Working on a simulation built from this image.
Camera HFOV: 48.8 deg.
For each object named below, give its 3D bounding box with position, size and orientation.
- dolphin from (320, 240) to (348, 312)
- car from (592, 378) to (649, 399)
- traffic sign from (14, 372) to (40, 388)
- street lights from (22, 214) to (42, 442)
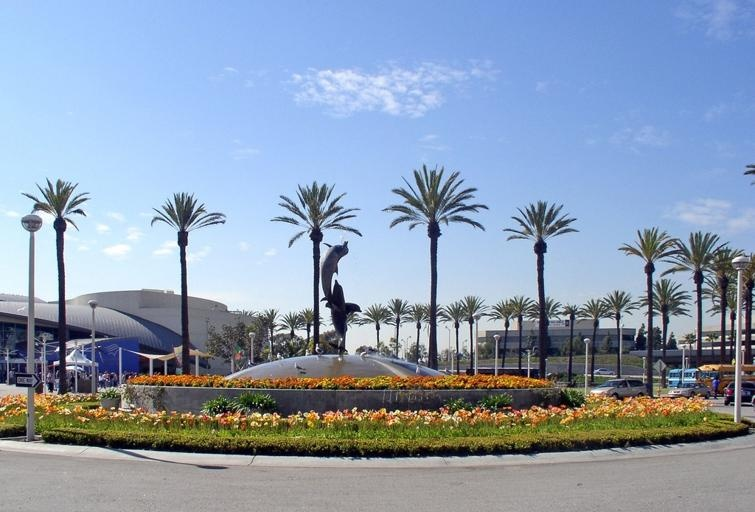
[{"bbox_3d":[-1.824,0.827,33.918,1.224,3.336,1.161,0,-2,38],"label":"dolphin"},{"bbox_3d":[15.895,8.629,54.093,2.153,1.367,4.706,-7,-13,38],"label":"car"},{"bbox_3d":[-12.997,4.649,30.972,1.028,0.528,0.615,-4,-10,25],"label":"traffic sign"},{"bbox_3d":[-13.054,1.900,31.508,0.786,6.939,0.841,-1,-8,-13],"label":"street lights"}]
